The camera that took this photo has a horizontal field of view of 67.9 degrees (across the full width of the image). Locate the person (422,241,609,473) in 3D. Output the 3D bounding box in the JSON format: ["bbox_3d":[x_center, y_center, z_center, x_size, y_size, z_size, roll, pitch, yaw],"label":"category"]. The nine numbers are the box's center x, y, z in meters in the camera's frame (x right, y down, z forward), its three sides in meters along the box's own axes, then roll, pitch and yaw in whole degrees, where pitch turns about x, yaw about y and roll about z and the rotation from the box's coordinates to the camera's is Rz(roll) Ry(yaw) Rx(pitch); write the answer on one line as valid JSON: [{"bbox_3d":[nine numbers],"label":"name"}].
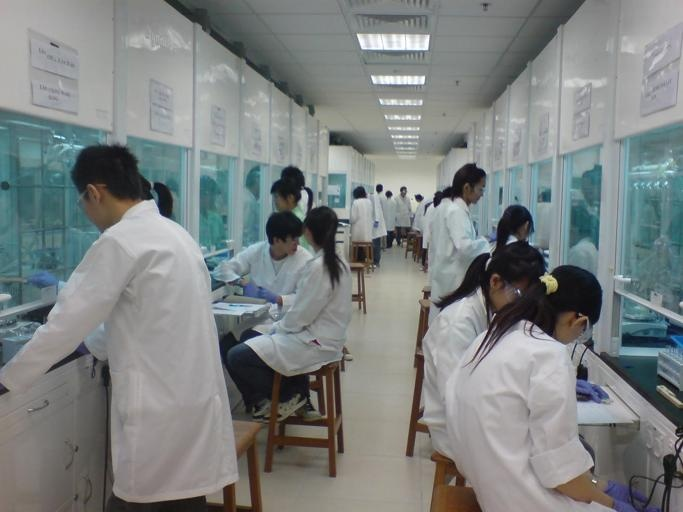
[{"bbox_3d":[0.641,0.250,2.526,0.763,1.418,0.725,3,14,8],"label":"person"}]

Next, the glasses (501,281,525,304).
[{"bbox_3d":[0.677,0.141,2.005,0.060,0.098,0.087,2,37,3],"label":"glasses"}]

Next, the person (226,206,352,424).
[{"bbox_3d":[-0.317,0.384,3.095,0.750,1.359,0.382,0,8,-1],"label":"person"}]

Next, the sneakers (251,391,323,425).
[{"bbox_3d":[-0.334,0.970,3.198,0.512,0.239,0.186,6,-3,-8],"label":"sneakers"}]

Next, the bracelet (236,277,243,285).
[{"bbox_3d":[-0.742,0.183,3.651,0.034,0.053,0.042,14,15,39],"label":"bracelet"}]

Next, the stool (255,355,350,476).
[{"bbox_3d":[-0.159,0.983,3.269,0.507,0.916,0.591,2,10,7],"label":"stool"}]

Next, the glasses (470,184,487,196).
[{"bbox_3d":[1.129,-0.543,4.159,0.065,0.093,0.232,4,10,26],"label":"glasses"}]
